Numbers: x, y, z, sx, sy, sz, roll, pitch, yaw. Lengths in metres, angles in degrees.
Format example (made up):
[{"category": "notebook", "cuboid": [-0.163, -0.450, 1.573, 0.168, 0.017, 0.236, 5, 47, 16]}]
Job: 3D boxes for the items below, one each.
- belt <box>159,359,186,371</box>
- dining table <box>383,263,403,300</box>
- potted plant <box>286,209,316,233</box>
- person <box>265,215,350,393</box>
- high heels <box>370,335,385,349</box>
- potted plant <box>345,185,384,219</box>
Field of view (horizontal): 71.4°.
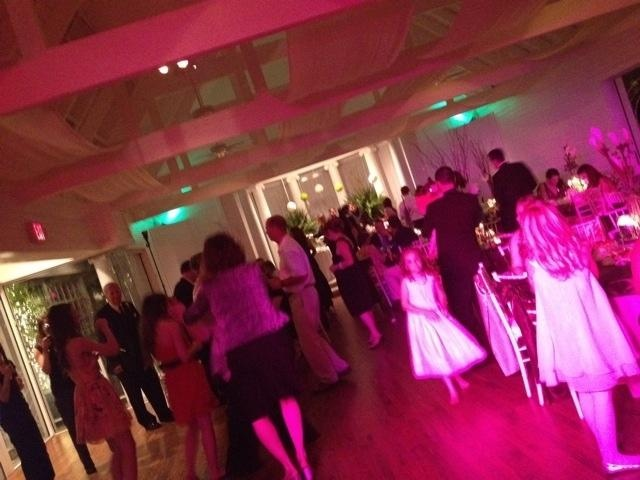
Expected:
[{"category": "belt", "cuboid": [-1.358, 1.141, 4.110, 0.126, 0.038, 0.138, -15, -6, -11]}, {"category": "dining table", "cuboid": [1.288, 0.784, 7.709, 0.292, 0.648, 1.045, -14, -1, 7]}, {"category": "potted plant", "cuboid": [-0.621, -0.594, 13.544, 0.772, 0.805, 0.808, 8, 7, 38]}, {"category": "person", "cuboid": [-0.245, 0.705, 5.179, 0.727, 2.010, 0.628, -14, 1, -14]}, {"category": "high heels", "cuboid": [0.829, 1.507, 6.537, 0.154, 0.166, 0.143, -4, -8, 19]}, {"category": "potted plant", "cuboid": [1.368, -1.086, 13.713, 0.847, 1.085, 0.902, -4, 0, -21]}]
